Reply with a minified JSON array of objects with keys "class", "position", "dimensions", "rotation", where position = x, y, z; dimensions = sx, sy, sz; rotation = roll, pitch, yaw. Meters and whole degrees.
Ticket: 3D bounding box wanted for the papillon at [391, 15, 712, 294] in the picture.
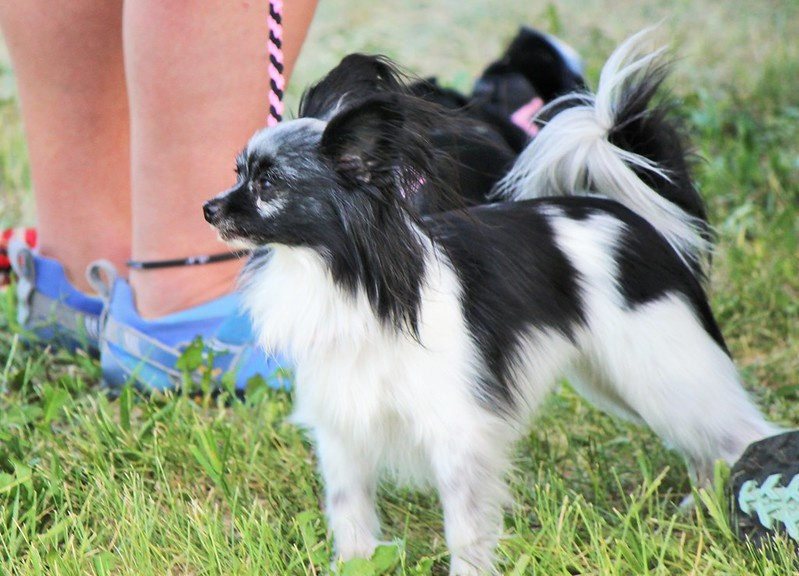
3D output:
[{"class":"papillon","position":[0.199,-0.458,3.536],"dimensions":[1.785,0.840,0.616],"rotation":[-3,-23,10]}]
